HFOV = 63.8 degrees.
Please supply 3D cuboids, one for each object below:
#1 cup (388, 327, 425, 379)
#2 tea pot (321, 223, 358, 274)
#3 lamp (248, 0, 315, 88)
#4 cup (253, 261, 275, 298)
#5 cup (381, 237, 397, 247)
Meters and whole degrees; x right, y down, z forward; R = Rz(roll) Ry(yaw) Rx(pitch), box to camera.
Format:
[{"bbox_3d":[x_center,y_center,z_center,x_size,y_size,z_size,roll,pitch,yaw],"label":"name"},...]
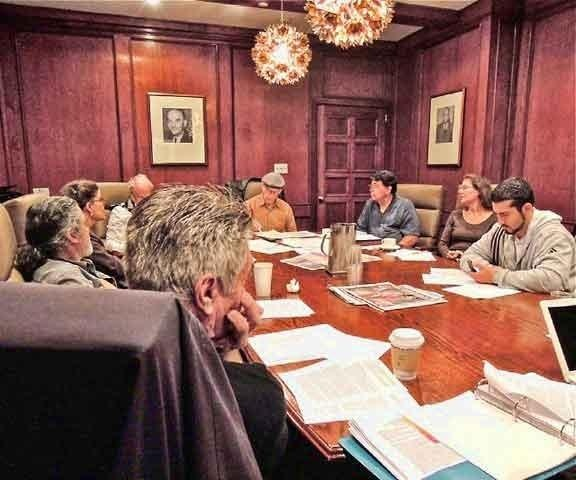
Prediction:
[{"bbox_3d":[0.290,0.278,1.175,0.097,0.110,0.104,0,15,0],"label":"cup"},{"bbox_3d":[0.236,0.031,2.160,0.183,0.279,0.163,-2,12,-15],"label":"tea pot"},{"bbox_3d":[-0.039,-1.208,2.941,0.359,0.383,0.279,8,5,-5],"label":"lamp"},{"bbox_3d":[-0.096,0.152,1.802,0.110,0.166,0.109,0,3,0],"label":"cup"},{"bbox_3d":[0.630,0.012,2.846,0.075,0.056,0.063,-3,8,1],"label":"cup"}]
